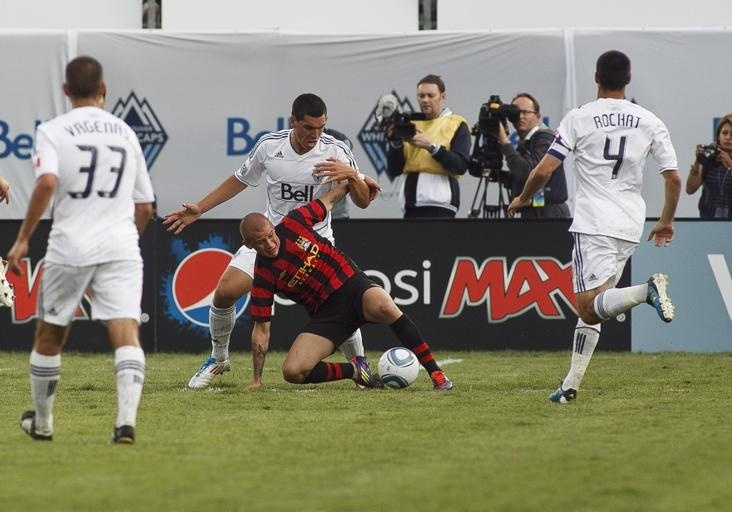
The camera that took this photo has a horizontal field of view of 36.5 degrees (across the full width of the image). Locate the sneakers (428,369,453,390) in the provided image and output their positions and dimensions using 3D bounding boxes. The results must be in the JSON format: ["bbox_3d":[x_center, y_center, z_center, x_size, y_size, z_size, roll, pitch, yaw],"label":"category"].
[{"bbox_3d":[0.630,1.058,9.361,0.115,0.101,0.264,10,17,-26],"label":"sneakers"}]

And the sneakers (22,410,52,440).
[{"bbox_3d":[-2.359,1.237,8.047,0.122,0.154,0.341,0,12,-27],"label":"sneakers"}]

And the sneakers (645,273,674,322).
[{"bbox_3d":[2.458,0.332,9.270,0.153,0.448,0.198,-23,-1,12],"label":"sneakers"}]

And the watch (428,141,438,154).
[{"bbox_3d":[0.649,-1.015,10.475,0.101,0.116,0.077,2,3,1],"label":"watch"}]

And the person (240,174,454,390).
[{"bbox_3d":[-0.120,0.270,9.918,1.208,1.663,0.866,-24,-18,22],"label":"person"}]

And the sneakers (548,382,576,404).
[{"bbox_3d":[1.603,1.114,8.932,0.266,0.141,0.207,2,3,-8],"label":"sneakers"}]

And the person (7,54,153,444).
[{"bbox_3d":[-1.965,0.148,7.854,0.909,2.418,0.519,1,3,-13],"label":"person"}]

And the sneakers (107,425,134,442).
[{"bbox_3d":[-1.685,1.247,7.732,0.116,0.123,0.123,-1,-9,14],"label":"sneakers"}]

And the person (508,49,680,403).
[{"bbox_3d":[1.910,-0.238,8.972,1.168,2.853,0.717,3,3,16],"label":"person"}]
